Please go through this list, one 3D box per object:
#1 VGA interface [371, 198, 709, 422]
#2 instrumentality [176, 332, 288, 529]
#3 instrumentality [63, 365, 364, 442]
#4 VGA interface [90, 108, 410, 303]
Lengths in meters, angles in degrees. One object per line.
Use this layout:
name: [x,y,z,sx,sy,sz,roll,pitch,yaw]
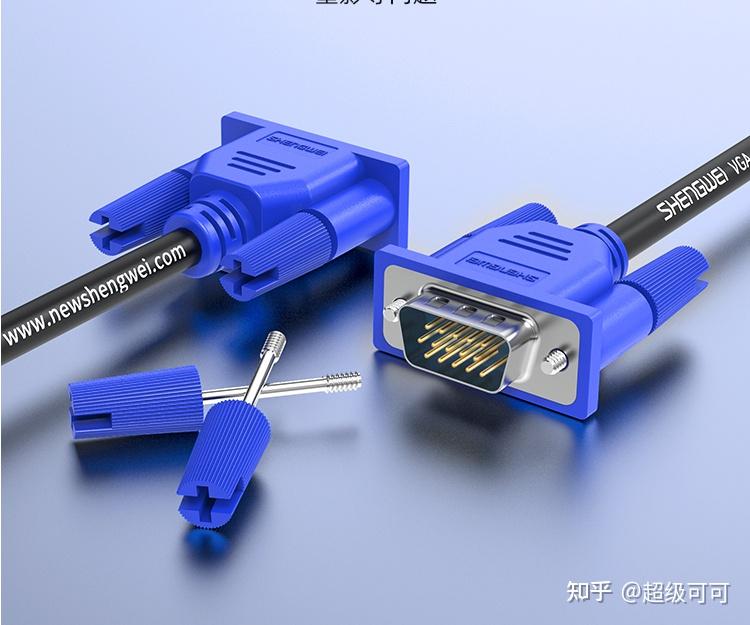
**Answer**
VGA interface: [0.246,-0.024,1.159,0.424,0.146,0.440,10,28,21]
instrumentality: [-0.160,0.127,0.934,0.076,0.228,0.230,5,-6,0]
instrumentality: [-0.185,0.104,1.004,0.375,0.079,0.081,-6,23,-20]
VGA interface: [-0.187,-0.173,1.340,0.424,0.157,0.389,17,38,23]
